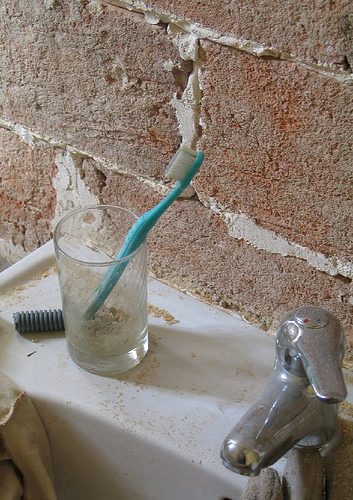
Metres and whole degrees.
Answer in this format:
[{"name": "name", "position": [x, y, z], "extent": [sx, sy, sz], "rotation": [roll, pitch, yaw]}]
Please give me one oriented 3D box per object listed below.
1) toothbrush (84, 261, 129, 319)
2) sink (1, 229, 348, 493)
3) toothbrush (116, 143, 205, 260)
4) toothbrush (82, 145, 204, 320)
[{"name": "toothbrush", "position": [-0.078, 0.042, 0.572], "extent": [0.017, 0.092, 0.013], "rotation": [37, 32, -3]}, {"name": "sink", "position": [0.001, 0.105, 0.539], "extent": [0.237, 0.212, 0.132], "rotation": [30, 48, 31]}, {"name": "toothbrush", "position": [-0.017, -0.036, 0.514], "extent": [0.044, 0.122, 0.023], "rotation": [-17, 51, -40]}, {"name": "toothbrush", "position": [-0.032, -0.019, 0.608], "extent": [0.023, 0.249, 0.036], "rotation": [50, 19, 24]}]
